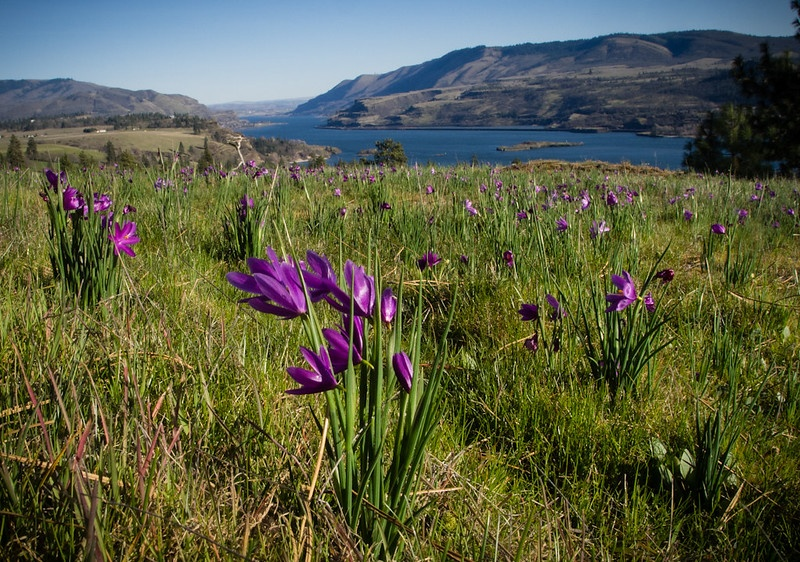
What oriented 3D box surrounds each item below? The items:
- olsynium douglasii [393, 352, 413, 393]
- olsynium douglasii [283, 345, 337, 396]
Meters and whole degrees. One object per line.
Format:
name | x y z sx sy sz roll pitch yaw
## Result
olsynium douglasii | 0.017 0.322 2.204 0.073 0.137 0.118 3 14 13
olsynium douglasii | -0.312 0.311 2.101 0.169 0.177 0.100 -4 14 -14
